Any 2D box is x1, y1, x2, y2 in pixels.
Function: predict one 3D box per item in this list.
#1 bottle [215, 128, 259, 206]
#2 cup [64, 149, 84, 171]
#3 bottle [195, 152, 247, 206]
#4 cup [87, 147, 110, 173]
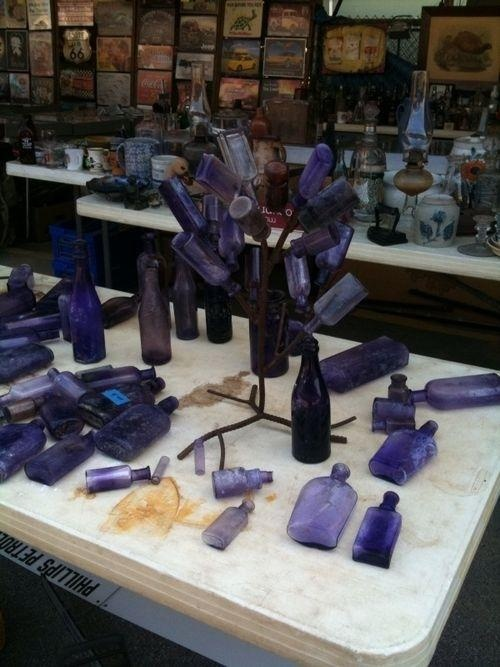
[{"bbox_3d":[-0.021,-0.274,0.878,0.061,0.099,0.024,-23,15,-13],"label":"bottle"},{"bbox_3d":[-1.005,-1.029,3.223,0.142,0.104,0.105,16,36,8],"label":"cup"},{"bbox_3d":[-0.047,-0.239,0.839,0.086,0.057,0.031,38,9,-37],"label":"bottle"},{"bbox_3d":[-0.858,-0.986,3.112,0.164,0.152,0.105,-6,22,-12],"label":"cup"}]
